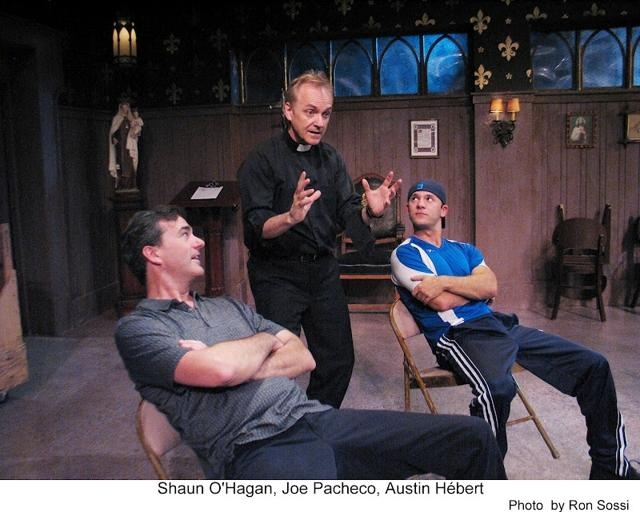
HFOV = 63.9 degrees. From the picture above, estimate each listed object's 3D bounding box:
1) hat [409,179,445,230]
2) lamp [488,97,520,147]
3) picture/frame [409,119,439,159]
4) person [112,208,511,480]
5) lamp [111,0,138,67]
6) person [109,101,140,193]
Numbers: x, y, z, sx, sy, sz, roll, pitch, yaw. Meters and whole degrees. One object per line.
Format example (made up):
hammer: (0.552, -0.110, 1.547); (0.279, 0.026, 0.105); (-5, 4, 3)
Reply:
hat: (0.640, -0.311, 3.089); (0.223, 0.242, 0.306); (-1, -9, 33)
lamp: (2.170, -1.538, 5.986); (0.314, 0.551, 0.176); (2, 7, 17)
picture/frame: (1.290, -1.459, 6.284); (0.451, 0.594, 0.062); (0, 3, 1)
person: (-0.148, 0.392, 2.422); (1.730, 1.346, 0.814); (-1, -1, 9)
lamp: (-2.108, -2.347, 5.479); (0.243, 0.660, 0.457); (-5, 11, -21)
person: (-2.214, -1.236, 5.814); (0.395, 0.954, 0.257); (2, 11, 21)
